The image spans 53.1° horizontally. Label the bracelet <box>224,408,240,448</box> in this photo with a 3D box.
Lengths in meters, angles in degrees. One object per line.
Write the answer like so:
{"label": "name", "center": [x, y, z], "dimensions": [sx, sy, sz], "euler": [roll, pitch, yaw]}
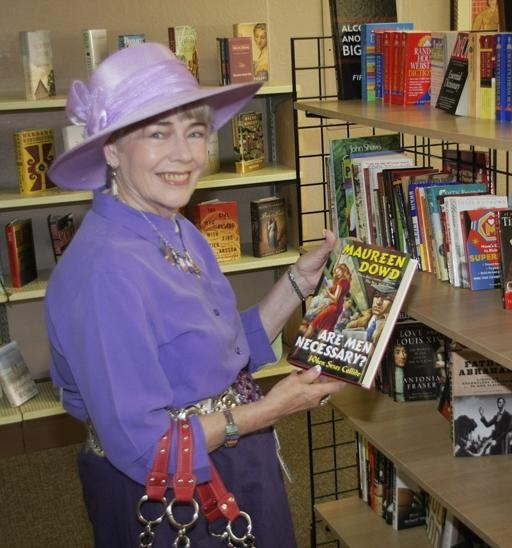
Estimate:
{"label": "bracelet", "center": [-0.048, 0.295, 0.988], "dimensions": [0.036, 0.063, 0.062], "euler": [-9, -7, -7]}

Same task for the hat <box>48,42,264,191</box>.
{"label": "hat", "center": [-0.246, -0.354, 1.185], "dimensions": [0.545, 0.277, 0.513], "euler": [-5, 9, -1]}

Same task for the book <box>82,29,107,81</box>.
{"label": "book", "center": [-0.859, -1.201, 2.847], "dimensions": [0.177, 0.246, 0.161], "euler": [-7, 10, -31]}

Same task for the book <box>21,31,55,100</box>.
{"label": "book", "center": [-1.197, -1.139, 2.800], "dimensions": [0.058, 0.337, 0.239], "euler": [10, 28, 7]}
